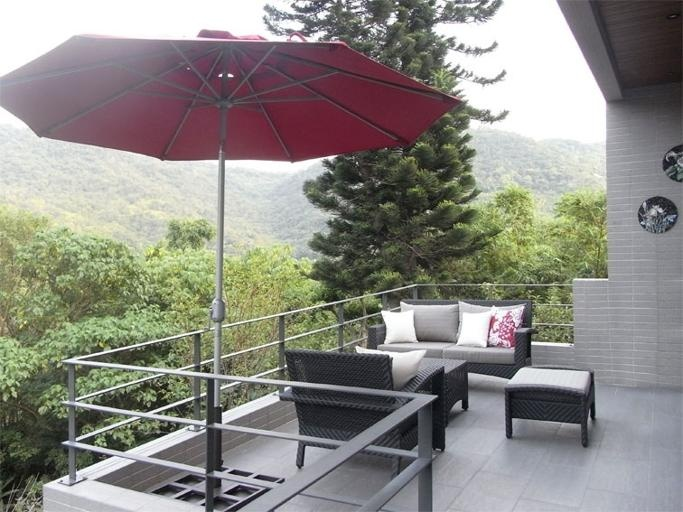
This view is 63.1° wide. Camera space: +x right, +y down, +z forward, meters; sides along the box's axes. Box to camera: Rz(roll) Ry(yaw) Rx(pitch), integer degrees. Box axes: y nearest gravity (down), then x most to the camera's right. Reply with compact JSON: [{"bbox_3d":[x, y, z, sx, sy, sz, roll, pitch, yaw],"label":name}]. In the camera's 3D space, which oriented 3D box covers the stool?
[{"bbox_3d":[1.782,1.258,4.884,0.847,0.516,0.962,-1,-1,27],"label":"stool"}]
